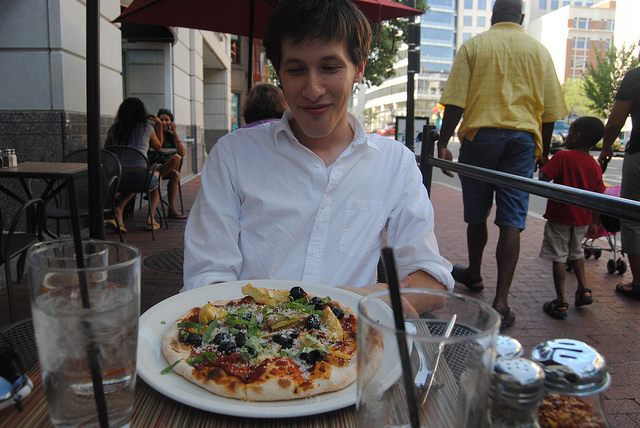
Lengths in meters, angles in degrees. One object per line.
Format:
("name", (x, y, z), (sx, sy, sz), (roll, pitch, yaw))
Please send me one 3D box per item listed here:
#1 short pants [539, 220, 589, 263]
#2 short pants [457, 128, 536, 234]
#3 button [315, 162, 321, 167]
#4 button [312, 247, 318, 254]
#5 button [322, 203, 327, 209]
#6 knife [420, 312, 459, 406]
("short pants", (2.451, 0.261, 4.813), (0.371, 0.489, 0.258), (17, -6, -8))
("short pants", (1.557, -0.344, 4.376), (0.660, 0.958, 0.536), (8, 12, 27))
("button", (-0.010, -0.267, 2.359), (0.028, 0.022, 0.010), (2, 11, -2))
("button", (-0.026, 0.165, 2.297), (0.024, 0.026, 0.006), (2, -9, -4))
("button", (0.023, -0.055, 2.321), (0.024, 0.027, 0.009), (-5, 13, -33))
("knife", (0.303, 0.331, 1.203), (0.046, 0.017, 0.365), (0, 25, 27))
